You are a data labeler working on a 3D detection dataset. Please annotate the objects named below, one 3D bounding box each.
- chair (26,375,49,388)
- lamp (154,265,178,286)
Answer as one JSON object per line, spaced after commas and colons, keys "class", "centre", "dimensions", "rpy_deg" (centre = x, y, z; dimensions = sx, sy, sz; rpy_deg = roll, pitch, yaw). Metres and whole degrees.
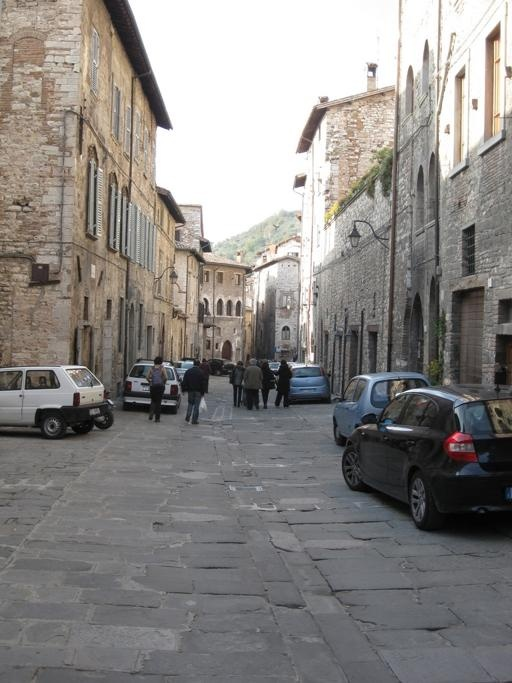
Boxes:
{"class": "chair", "centre": [-4.679, 0.890, 13.605], "dimensions": [0.494, 0.276, 0.141], "rpy_deg": [0, -3, 12]}
{"class": "lamp", "centre": [-5.337, -4.088, 38.959], "dimensions": [1.837, 1.431, 0.877], "rpy_deg": [-2, 4, -2]}
